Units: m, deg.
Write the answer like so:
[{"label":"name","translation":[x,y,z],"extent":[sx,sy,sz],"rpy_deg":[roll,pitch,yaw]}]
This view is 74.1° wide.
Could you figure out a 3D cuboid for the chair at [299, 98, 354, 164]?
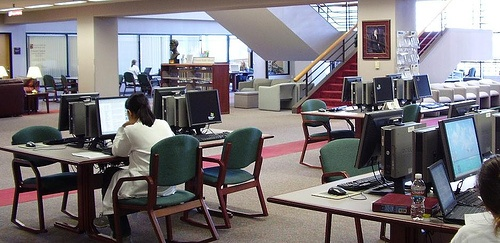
[{"label":"chair","translation":[1.890,0.224,7.849],"extent":[1.262,1.341,1.155],"rpy_deg":[-9,9,-26]}]

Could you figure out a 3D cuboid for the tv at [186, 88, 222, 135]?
[{"label":"tv","translation":[-0.975,-0.240,6.217],"extent":[0.427,0.651,0.762],"rpy_deg":[-3,4,42]}]

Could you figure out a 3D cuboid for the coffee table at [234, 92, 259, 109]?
[{"label":"coffee table","translation":[-0.160,-1.003,15.719],"extent":[0.963,0.628,0.942],"rpy_deg":[0,1,-42]}]

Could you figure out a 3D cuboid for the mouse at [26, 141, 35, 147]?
[{"label":"mouse","translation":[-3.379,0.342,5.084],"extent":[0.129,0.037,0.081],"rpy_deg":[4,6,38]}]

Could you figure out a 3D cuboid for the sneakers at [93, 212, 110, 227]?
[{"label":"sneakers","translation":[-2.154,1.453,4.856],"extent":[0.146,0.121,0.311],"rpy_deg":[0,-7,12]}]

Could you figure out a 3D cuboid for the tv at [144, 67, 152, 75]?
[{"label":"tv","translation":[-6.305,-3.116,20.237],"extent":[0.400,0.465,1.452],"rpy_deg":[-4,9,-17]}]

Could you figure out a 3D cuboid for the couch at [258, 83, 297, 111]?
[{"label":"couch","translation":[1.218,-1.184,15.240],"extent":[1.395,1.071,1.355],"rpy_deg":[-8,11,-41]}]

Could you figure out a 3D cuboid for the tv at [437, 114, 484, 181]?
[{"label":"tv","translation":[2.338,0.285,3.656],"extent":[0.841,0.623,0.082],"rpy_deg":[-5,-4,-39]}]

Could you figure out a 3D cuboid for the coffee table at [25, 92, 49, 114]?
[{"label":"coffee table","translation":[-9.294,-0.790,14.321],"extent":[1.093,0.852,1.034],"rpy_deg":[-2,1,-31]}]

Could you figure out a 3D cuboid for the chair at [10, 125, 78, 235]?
[{"label":"chair","translation":[-3.126,0.854,5.305],"extent":[1.021,1.410,1.016],"rpy_deg":[2,4,27]}]

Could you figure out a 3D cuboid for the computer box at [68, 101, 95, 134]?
[{"label":"computer box","translation":[-2.563,-0.044,5.343],"extent":[0.624,0.482,0.421],"rpy_deg":[0,3,-18]}]

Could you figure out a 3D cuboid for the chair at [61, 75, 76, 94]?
[{"label":"chair","translation":[-9.754,-2.037,17.801],"extent":[0.711,0.947,1.864],"rpy_deg":[-6,10,-29]}]

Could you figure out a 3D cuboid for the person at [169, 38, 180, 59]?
[{"label":"person","translation":[-3.472,-3.332,15.096],"extent":[0.348,0.898,0.656],"rpy_deg":[-3,9,-13]}]

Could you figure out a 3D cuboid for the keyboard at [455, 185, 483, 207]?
[{"label":"keyboard","translation":[2.189,0.746,3.307],"extent":[0.161,0.023,0.383],"rpy_deg":[3,5,18]}]

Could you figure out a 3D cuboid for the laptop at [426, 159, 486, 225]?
[{"label":"laptop","translation":[1.872,0.630,3.196],"extent":[0.588,0.341,0.633],"rpy_deg":[2,7,23]}]

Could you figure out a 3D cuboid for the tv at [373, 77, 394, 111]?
[{"label":"tv","translation":[3.415,-0.816,8.457],"extent":[0.997,0.619,0.053],"rpy_deg":[-10,7,-41]}]

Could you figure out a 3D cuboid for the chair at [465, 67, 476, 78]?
[{"label":"chair","translation":[13.069,-2.949,19.553],"extent":[0.463,0.542,0.981],"rpy_deg":[4,10,32]}]

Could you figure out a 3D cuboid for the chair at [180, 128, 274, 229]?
[{"label":"chair","translation":[-0.198,0.795,5.985],"extent":[1.629,1.907,1.600],"rpy_deg":[3,4,39]}]

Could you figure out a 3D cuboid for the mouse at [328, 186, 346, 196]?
[{"label":"mouse","translation":[0.938,0.749,3.578],"extent":[0.145,0.040,0.080],"rpy_deg":[1,6,14]}]

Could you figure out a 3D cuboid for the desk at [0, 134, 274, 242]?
[{"label":"desk","translation":[-2.472,0.771,4.856],"extent":[1.659,0.786,2.352],"rpy_deg":[5,6,35]}]

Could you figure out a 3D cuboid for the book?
[{"label":"book","translation":[1.527,0.804,3.285],"extent":[0.462,0.068,0.442],"rpy_deg":[-3,4,32]}]
